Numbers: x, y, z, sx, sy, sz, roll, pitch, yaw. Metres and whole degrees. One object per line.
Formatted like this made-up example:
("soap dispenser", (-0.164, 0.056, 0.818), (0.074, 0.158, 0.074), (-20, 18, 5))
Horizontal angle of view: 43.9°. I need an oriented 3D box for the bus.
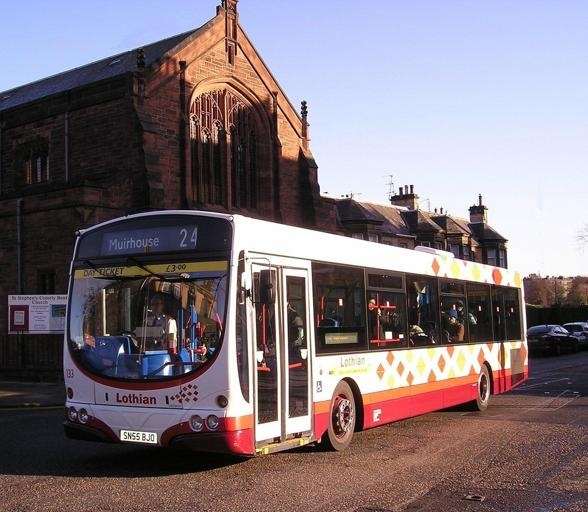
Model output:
("bus", (1.280, 1.197, 13.876), (3.332, 3.734, 12.263), (-5, -10, 32))
